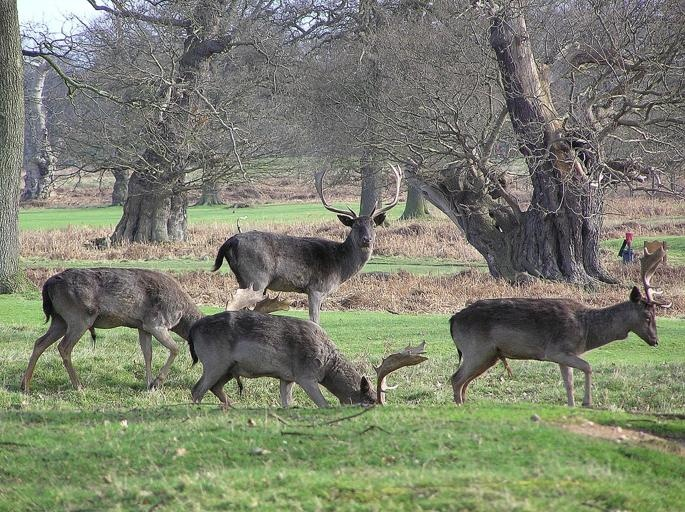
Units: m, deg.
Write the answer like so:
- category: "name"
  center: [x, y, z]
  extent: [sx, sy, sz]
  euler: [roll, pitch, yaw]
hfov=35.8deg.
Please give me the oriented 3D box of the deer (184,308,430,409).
- category: "deer"
  center: [-0.880, 2.339, 20.305]
  extent: [4.256, 2.686, 1.530]
  euler: [16, -4, -5]

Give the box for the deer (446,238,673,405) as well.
- category: "deer"
  center: [4.141, 1.844, 21.767]
  extent: [4.754, 3.791, 1.927]
  euler: [0, -3, -2]

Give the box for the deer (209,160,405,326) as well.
- category: "deer"
  center: [-0.922, 0.067, 24.219]
  extent: [4.160, 4.323, 2.036]
  euler: [2, 3, -21]

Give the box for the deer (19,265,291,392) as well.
- category: "deer"
  center: [-4.191, 1.652, 22.460]
  extent: [4.919, 2.593, 1.522]
  euler: [7, -13, -27]
